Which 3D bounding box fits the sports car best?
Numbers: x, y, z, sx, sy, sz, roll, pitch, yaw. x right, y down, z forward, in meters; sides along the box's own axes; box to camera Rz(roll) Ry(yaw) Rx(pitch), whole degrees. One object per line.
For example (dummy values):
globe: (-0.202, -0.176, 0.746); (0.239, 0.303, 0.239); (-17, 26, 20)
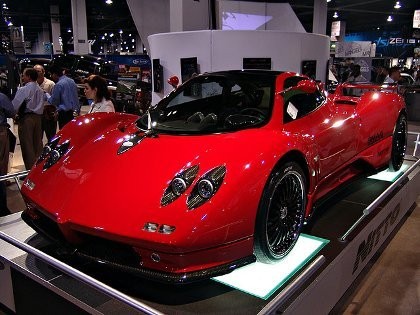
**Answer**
sports car: (0.399, -0.031, 2.352); (1.577, 0.973, 2.960); (13, 23, 43)
